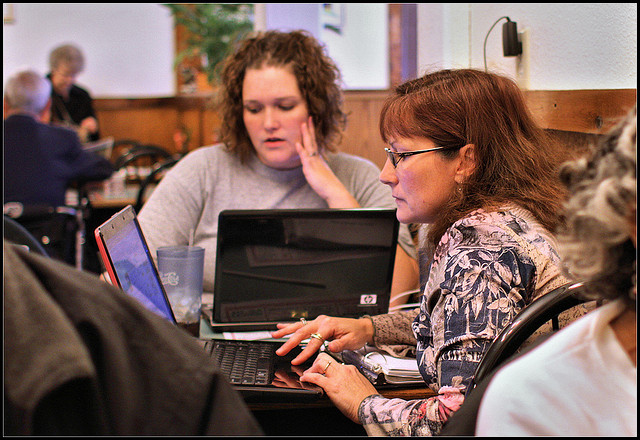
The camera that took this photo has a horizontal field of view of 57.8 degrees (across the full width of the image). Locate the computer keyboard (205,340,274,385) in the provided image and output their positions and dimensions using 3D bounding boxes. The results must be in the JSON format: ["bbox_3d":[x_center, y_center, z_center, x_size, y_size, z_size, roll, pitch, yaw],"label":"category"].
[{"bbox_3d":[-0.174,0.311,1.281,0.115,0.017,0.125,4,17,-17],"label":"computer keyboard"}]

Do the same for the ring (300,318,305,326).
[{"bbox_3d":[-0.045,0.256,1.468,0.010,0.008,0.009,3,43,-3],"label":"ring"}]

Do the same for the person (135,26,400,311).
[{"bbox_3d":[-0.188,-0.160,1.949,0.961,0.872,0.493,1,10,-4],"label":"person"}]

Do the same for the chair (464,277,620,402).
[{"bbox_3d":[0.389,0.219,1.203,0.246,0.346,0.266,2,-6,-8],"label":"chair"}]

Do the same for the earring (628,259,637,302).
[{"bbox_3d":[0.414,0.081,0.771,0.006,0.060,0.012,-3,14,1],"label":"earring"}]

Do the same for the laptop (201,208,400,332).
[{"bbox_3d":[-0.041,0.122,1.494,0.497,0.322,0.324,-1,24,-10],"label":"laptop"}]

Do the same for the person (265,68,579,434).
[{"bbox_3d":[0.282,0.050,1.595,0.863,1.012,0.740,3,1,9],"label":"person"}]

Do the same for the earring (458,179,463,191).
[{"bbox_3d":[0.315,-0.080,1.309,0.008,0.023,0.025,-2,13,6],"label":"earring"}]

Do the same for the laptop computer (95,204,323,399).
[{"bbox_3d":[-0.233,0.148,1.324,0.463,0.367,0.419,0,6,-14],"label":"laptop computer"}]
